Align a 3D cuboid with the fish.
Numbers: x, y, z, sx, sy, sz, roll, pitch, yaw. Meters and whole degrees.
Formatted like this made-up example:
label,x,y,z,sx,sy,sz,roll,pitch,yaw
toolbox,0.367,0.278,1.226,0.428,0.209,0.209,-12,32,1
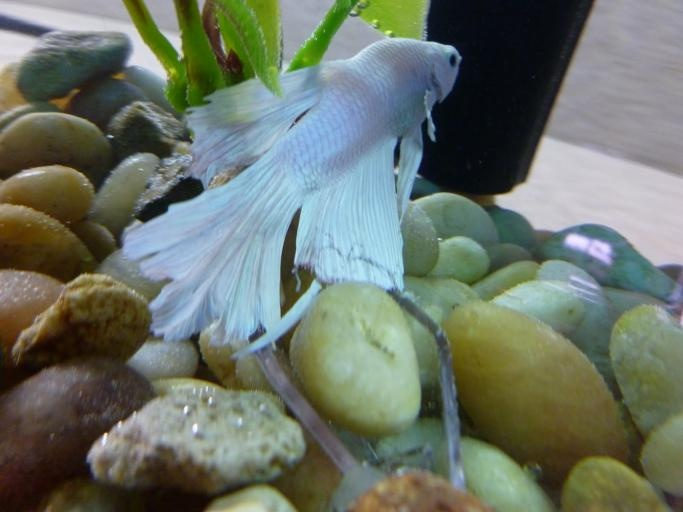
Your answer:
label,x,y,z,sx,sy,sz,roll,pitch,yaw
fish,-0.036,-0.095,0.738,0.369,0.225,0.169,-43,29,-18
